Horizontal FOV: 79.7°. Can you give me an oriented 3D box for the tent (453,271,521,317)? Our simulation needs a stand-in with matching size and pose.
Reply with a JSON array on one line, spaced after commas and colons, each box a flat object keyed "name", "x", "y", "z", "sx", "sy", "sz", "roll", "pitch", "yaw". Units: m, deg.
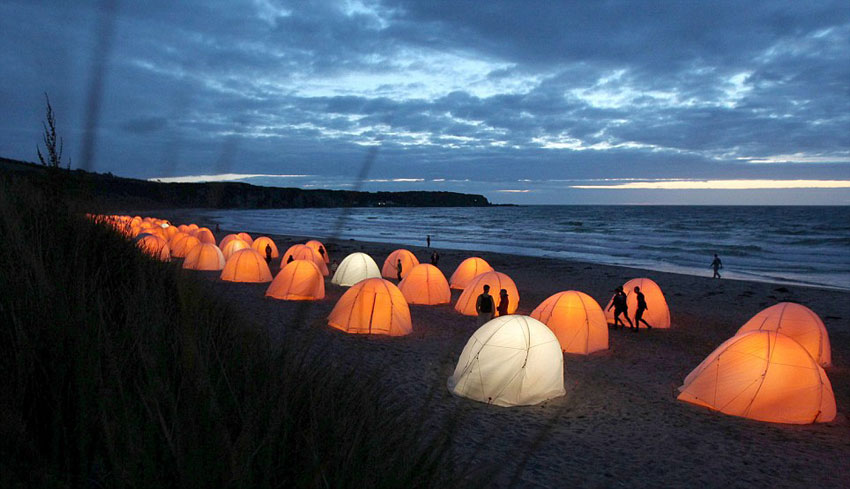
[{"name": "tent", "x": 2.109, "y": 1.666, "z": 17.172, "sx": 2.007, "sy": 1.031, "sz": 1.471, "roll": 2, "pitch": 0, "yaw": -21}]

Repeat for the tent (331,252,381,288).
[{"name": "tent", "x": -3.192, "y": 0.850, "z": 21.869, "sx": 1.668, "sy": 1.084, "sz": 1.802, "roll": 23, "pitch": 29, "yaw": 6}]

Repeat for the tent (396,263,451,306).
[{"name": "tent", "x": -0.181, "y": 1.534, "z": 19.152, "sx": 1.781, "sy": 0.944, "sz": 1.639, "roll": -1, "pitch": 3, "yaw": -21}]

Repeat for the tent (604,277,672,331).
[{"name": "tent", "x": 7.393, "y": 1.921, "z": 16.735, "sx": 2.361, "sy": 1.428, "sz": 1.612, "roll": 4, "pitch": 5, "yaw": 35}]

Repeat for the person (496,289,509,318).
[{"name": "person", "x": 2.171, "y": 1.650, "z": 14.398, "sx": 0.244, "sy": 0.753, "sz": 0.326, "roll": 6, "pitch": 6, "yaw": 31}]

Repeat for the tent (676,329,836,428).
[{"name": "tent", "x": 6.901, "y": 2.544, "z": 10.244, "sx": 2.702, "sy": 1.331, "sz": 2.810, "roll": -2, "pitch": -5, "yaw": -6}]

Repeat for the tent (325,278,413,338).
[{"name": "tent", "x": -1.484, "y": 1.651, "z": 14.459, "sx": 2.564, "sy": 1.254, "sz": 2.042, "roll": 1, "pitch": 10, "yaw": -24}]

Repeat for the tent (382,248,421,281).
[{"name": "tent", "x": -1.009, "y": 0.825, "z": 24.666, "sx": 1.414, "sy": 0.766, "sz": 1.309, "roll": -15, "pitch": 13, "yaw": 16}]

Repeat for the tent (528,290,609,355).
[{"name": "tent", "x": 3.987, "y": 2.047, "z": 13.516, "sx": 1.856, "sy": 1.283, "sz": 1.875, "roll": 2, "pitch": 2, "yaw": 45}]

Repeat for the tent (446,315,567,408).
[{"name": "tent", "x": 1.709, "y": 2.267, "z": 10.641, "sx": 2.572, "sy": 1.308, "sz": 2.083, "roll": -2, "pitch": 10, "yaw": -25}]

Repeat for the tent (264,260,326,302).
[{"name": "tent", "x": -4.389, "y": 1.217, "z": 18.121, "sx": 2.213, "sy": 1.109, "sz": 1.900, "roll": 4, "pitch": 3, "yaw": 9}]

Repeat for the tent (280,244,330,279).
[{"name": "tent", "x": -5.656, "y": 1.126, "z": 23.345, "sx": 1.899, "sy": 0.955, "sz": 2.217, "roll": 3, "pitch": -6, "yaw": 0}]

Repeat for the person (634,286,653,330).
[{"name": "person", "x": 6.727, "y": 1.999, "z": 15.695, "sx": 0.622, "sy": 1.391, "sz": 1.137, "roll": 5, "pitch": 5, "yaw": 23}]

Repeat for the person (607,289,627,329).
[{"name": "person", "x": 6.047, "y": 1.989, "z": 15.909, "sx": 0.427, "sy": 1.275, "sz": 0.982, "roll": 5, "pitch": 5, "yaw": 18}]
